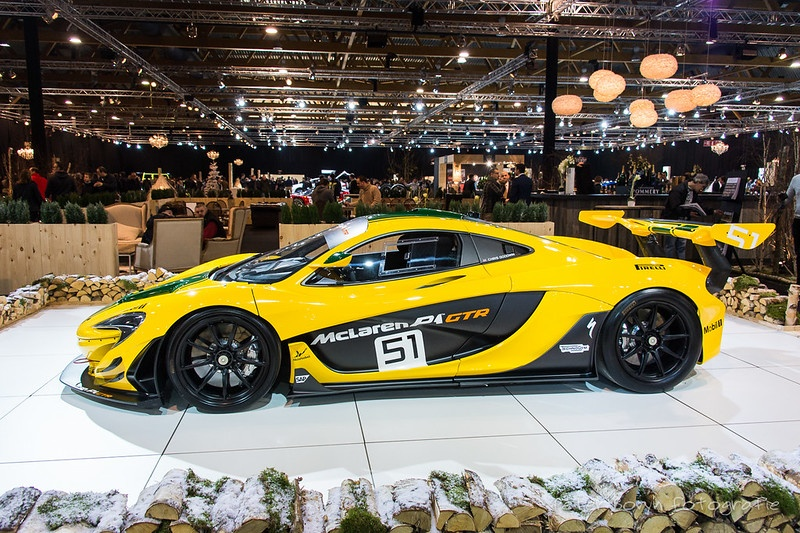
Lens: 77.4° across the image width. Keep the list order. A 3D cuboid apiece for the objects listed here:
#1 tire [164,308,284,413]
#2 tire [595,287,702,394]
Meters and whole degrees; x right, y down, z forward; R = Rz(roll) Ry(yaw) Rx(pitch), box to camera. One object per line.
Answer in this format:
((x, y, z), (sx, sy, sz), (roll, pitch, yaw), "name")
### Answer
((-1.546, 0.811, 4.365), (0.886, 0.939, 0.304), (0, 1, -4), "tire")
((2.330, 0.675, 4.703), (0.740, 0.767, 0.285), (23, 0, -12), "tire")
